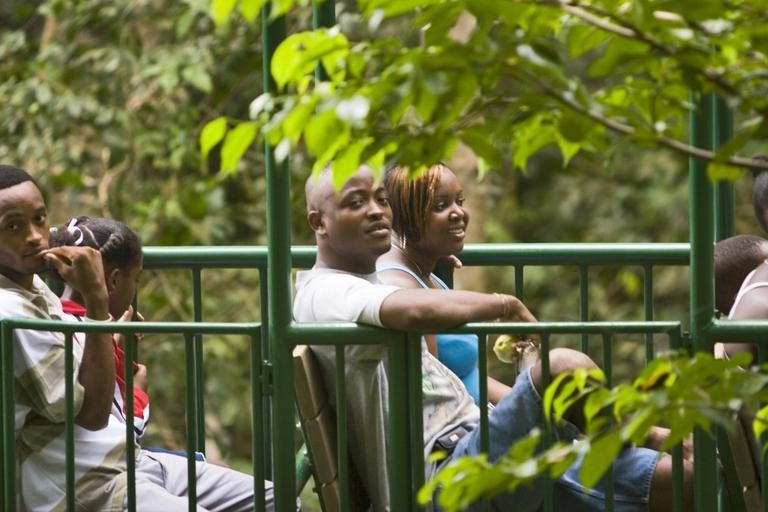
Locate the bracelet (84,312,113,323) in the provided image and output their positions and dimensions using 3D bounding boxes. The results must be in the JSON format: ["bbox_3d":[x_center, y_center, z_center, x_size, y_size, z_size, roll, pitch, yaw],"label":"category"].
[{"bbox_3d":[-1.407,0.294,7.987,0.075,0.048,0.071,0,0,-8],"label":"bracelet"}]

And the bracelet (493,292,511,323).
[{"bbox_3d":[0.564,0.233,7.840,0.055,0.114,0.097,-9,3,17],"label":"bracelet"}]

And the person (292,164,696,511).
[{"bbox_3d":[0.361,0.387,7.931,1.609,1.687,0.655,-1,-3,-4],"label":"person"}]
